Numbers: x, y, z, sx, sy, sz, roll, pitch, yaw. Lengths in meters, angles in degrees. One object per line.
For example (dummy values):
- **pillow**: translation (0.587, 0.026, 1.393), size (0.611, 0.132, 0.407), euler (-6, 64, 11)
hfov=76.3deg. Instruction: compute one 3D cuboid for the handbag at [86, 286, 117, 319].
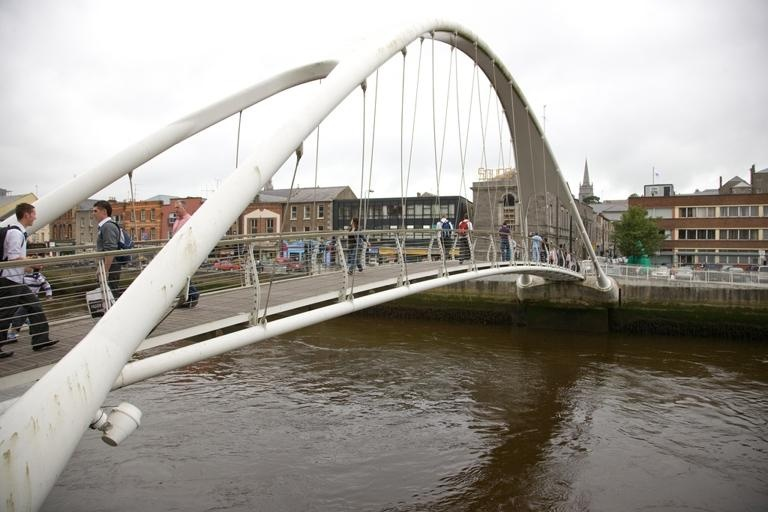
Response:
- **handbag**: translation (-3.265, 0.562, 5.582), size (0.257, 0.423, 0.673), euler (-1, 5, -32)
